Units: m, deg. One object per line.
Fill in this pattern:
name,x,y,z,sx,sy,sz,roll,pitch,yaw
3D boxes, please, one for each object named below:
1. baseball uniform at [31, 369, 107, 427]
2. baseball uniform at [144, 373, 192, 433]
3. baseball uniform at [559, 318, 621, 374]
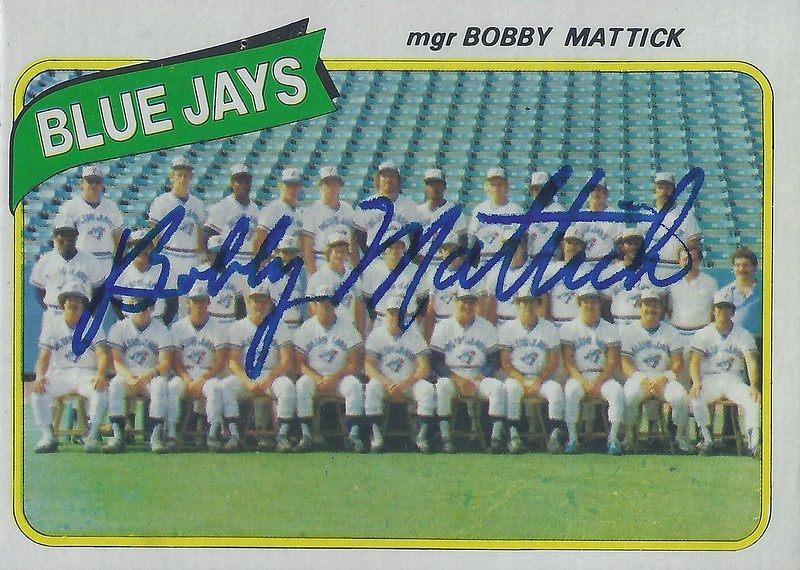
baseball uniform,-1.444,0.517,10.095,0.268,0.282,0.097,2,-16,-4
baseball uniform,-0.997,0.544,10.094,0.223,0.211,0.070,1,-1,10
baseball uniform,0.831,0.282,10.099,0.366,0.279,0.125,4,0,-26
